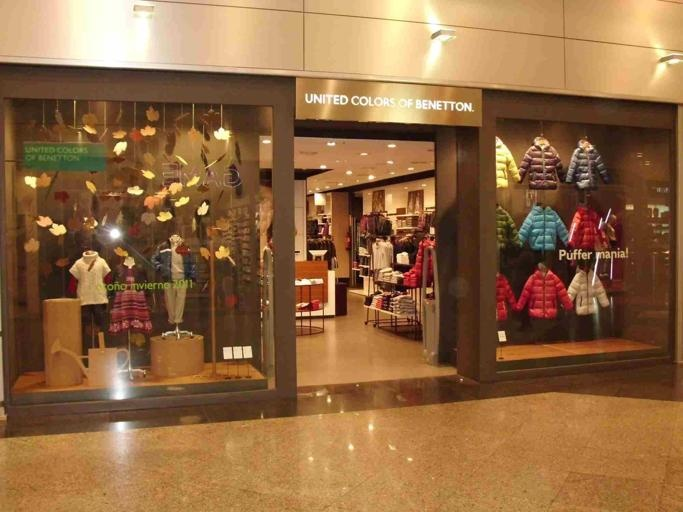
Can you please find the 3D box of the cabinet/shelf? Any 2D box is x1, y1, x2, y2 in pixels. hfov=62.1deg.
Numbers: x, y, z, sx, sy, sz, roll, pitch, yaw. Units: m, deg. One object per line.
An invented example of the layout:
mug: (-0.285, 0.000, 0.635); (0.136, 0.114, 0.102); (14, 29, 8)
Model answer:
cabinet/shelf: (0.439, 0.433, 13.533); (0.875, 2.688, 2.627); (-1, 1, -24)

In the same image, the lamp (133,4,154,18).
lamp: (-2.034, -2.517, 5.808); (0.197, 0.124, 0.144); (-3, 2, -7)

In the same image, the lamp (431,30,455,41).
lamp: (1.177, -2.559, 6.581); (0.294, 0.101, 0.140); (-1, 3, -6)
